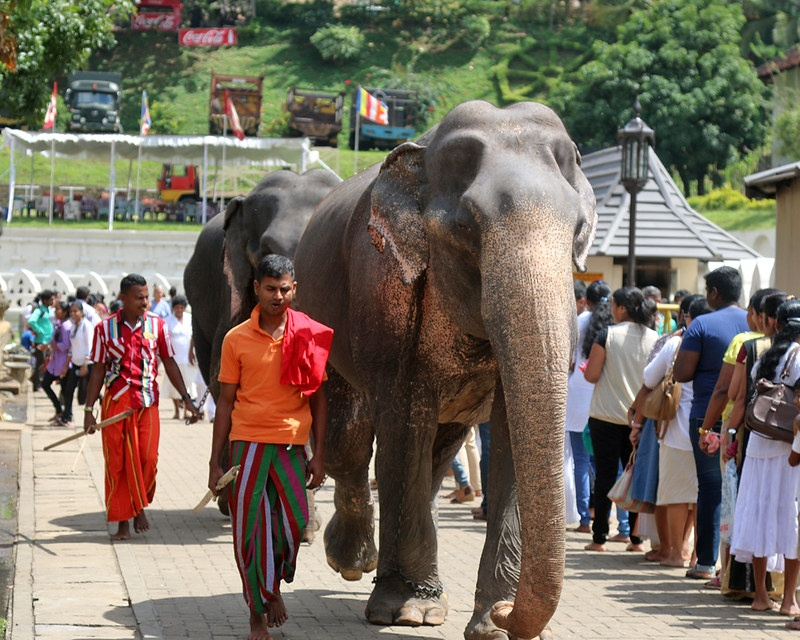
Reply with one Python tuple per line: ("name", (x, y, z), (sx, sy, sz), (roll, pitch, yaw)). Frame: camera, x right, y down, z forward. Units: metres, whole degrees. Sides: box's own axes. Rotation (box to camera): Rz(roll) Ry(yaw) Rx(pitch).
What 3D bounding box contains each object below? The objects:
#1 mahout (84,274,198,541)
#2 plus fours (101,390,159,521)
("mahout", (-2.592, 0.816, 14.372), (0.866, 2.588, 1.096), (0, 0, -33))
("plus fours", (-2.587, 1.331, 14.372), (0.503, 1.281, 0.718), (-1, 9, -12))
